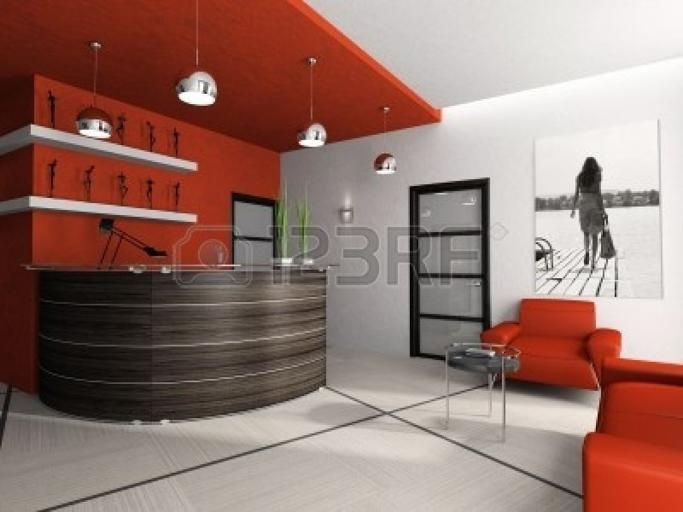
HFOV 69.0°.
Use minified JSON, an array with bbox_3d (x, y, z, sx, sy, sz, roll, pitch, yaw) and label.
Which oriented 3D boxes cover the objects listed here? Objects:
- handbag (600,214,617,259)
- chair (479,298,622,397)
[{"bbox_3d":[3.137,-0.225,5.774,0.175,0.511,0.102,6,13,28],"label":"handbag"},{"bbox_3d":[2.397,0.941,5.477,1.376,0.910,0.998,-4,-8,34],"label":"chair"}]
